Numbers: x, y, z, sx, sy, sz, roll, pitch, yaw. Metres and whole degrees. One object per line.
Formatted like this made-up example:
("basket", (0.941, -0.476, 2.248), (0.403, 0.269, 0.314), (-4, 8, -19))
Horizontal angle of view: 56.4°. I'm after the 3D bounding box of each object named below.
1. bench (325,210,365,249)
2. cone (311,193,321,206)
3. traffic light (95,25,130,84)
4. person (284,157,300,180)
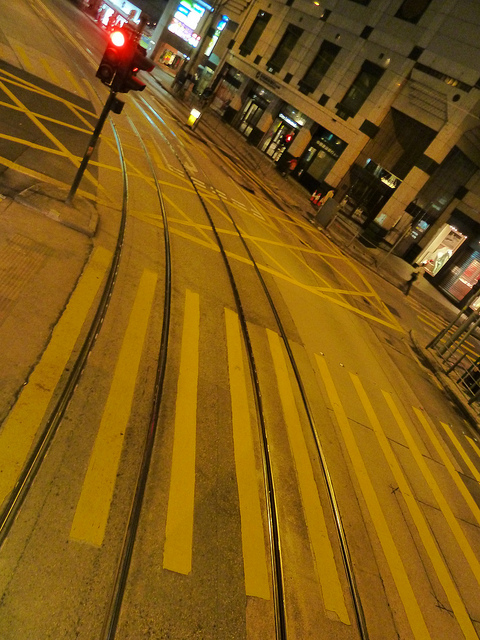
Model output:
("bench", (6.304, -5.454, 25.947), (1.906, 0.922, 5.570), (40, 18, 2))
("cone", (4.483, -7.070, 25.964), (0.377, 0.613, 0.487), (30, 18, -10))
("traffic light", (-2.032, -4.264, 7.162), (0.274, 0.875, 0.551), (23, 20, -26))
("person", (3.485, -10.319, 29.769), (0.668, 1.208, 1.812), (32, 18, -3))
